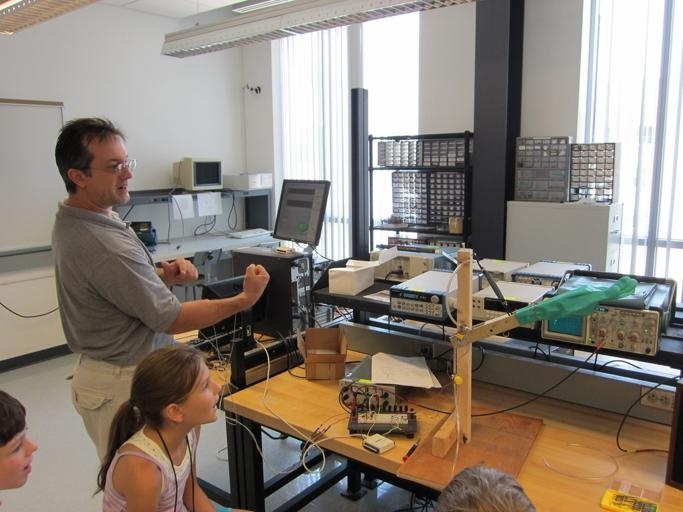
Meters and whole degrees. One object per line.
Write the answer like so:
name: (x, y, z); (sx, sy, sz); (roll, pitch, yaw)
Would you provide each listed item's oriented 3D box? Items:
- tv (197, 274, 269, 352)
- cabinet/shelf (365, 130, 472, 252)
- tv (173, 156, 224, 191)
tv: (-0.550, 0.306, 2.615); (0.152, 0.352, 0.365); (21, 26, 38)
cabinet/shelf: (0.745, -0.616, 4.742); (1.181, 1.498, 0.440); (3, 6, 32)
tv: (-1.654, -0.919, 5.926); (0.428, 0.342, 0.436); (5, 8, 39)
